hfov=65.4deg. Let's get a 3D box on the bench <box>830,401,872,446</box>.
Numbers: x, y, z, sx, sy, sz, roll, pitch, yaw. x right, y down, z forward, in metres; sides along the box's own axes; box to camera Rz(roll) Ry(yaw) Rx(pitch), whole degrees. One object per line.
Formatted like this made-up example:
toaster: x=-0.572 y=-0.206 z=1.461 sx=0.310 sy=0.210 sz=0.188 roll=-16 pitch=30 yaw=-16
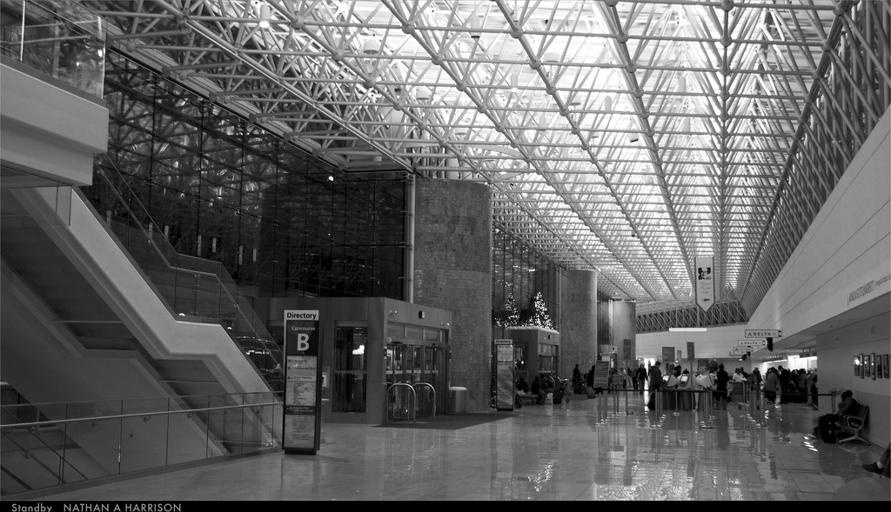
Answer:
bench: x=13.988 y=5.686 z=24.109 sx=1.290 sy=1.528 sz=1.556 roll=-6 pitch=-14 yaw=40
